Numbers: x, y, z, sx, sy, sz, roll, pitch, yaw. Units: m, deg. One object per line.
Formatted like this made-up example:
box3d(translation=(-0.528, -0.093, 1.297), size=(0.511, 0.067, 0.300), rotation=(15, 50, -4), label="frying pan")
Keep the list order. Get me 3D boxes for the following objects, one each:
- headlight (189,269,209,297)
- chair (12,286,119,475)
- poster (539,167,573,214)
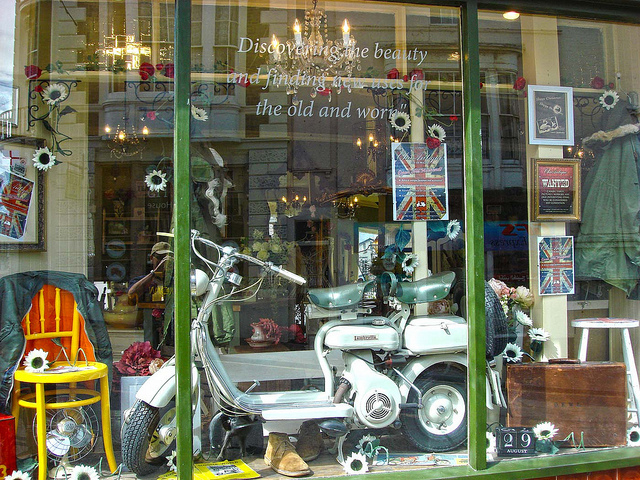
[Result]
box3d(translation=(-0.897, 0.313, 5.848), size=(0.132, 0.191, 0.177), rotation=(3, -7, 4), label="headlight")
box3d(translation=(-2.018, 1.071, 6.114), size=(0.736, 1.358, 0.692), rotation=(-5, 7, -18), label="chair")
box3d(translation=(2.099, -0.461, 7.039), size=(0.391, 0.573, 0.058), rotation=(0, 1, -2), label="poster")
